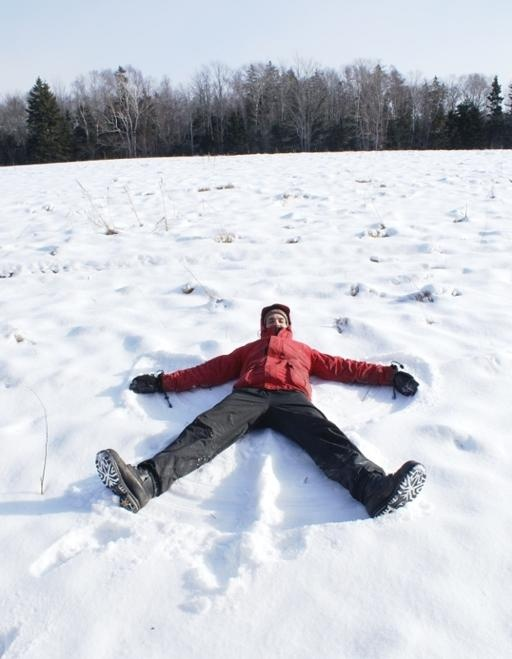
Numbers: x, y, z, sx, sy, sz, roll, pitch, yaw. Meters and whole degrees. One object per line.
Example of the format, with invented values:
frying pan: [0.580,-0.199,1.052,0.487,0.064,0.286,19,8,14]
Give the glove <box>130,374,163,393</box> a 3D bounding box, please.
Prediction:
glove: [-0.786,0.385,3.820,0.209,0.090,0.127,0,61,-4]

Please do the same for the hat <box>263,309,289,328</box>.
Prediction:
hat: [0.186,-0.098,4.471,0.135,0.188,0.178,-3,25,1]

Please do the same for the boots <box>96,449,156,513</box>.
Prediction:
boots: [-0.661,0.755,2.758,0.269,0.303,0.206,13,22,35]

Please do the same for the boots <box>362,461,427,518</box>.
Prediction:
boots: [0.685,0.774,2.640,0.313,0.247,0.163,-9,20,-25]
